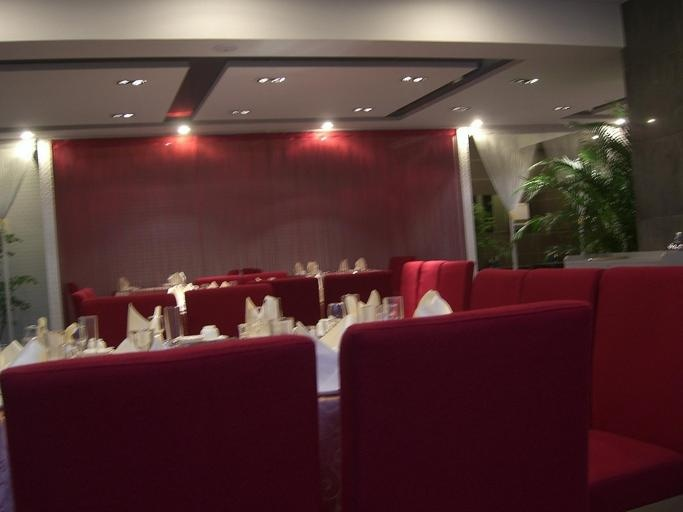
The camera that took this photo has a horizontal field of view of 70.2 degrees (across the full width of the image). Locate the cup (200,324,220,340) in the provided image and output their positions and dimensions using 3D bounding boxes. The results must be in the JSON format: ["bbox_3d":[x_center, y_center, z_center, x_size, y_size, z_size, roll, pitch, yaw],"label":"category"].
[{"bbox_3d":[-0.501,0.285,1.829,0.093,0.059,0.089,0,-3,0],"label":"cup"}]

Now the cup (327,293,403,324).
[{"bbox_3d":[0.050,0.210,1.752,0.244,0.152,0.144,-9,-9,30],"label":"cup"}]
